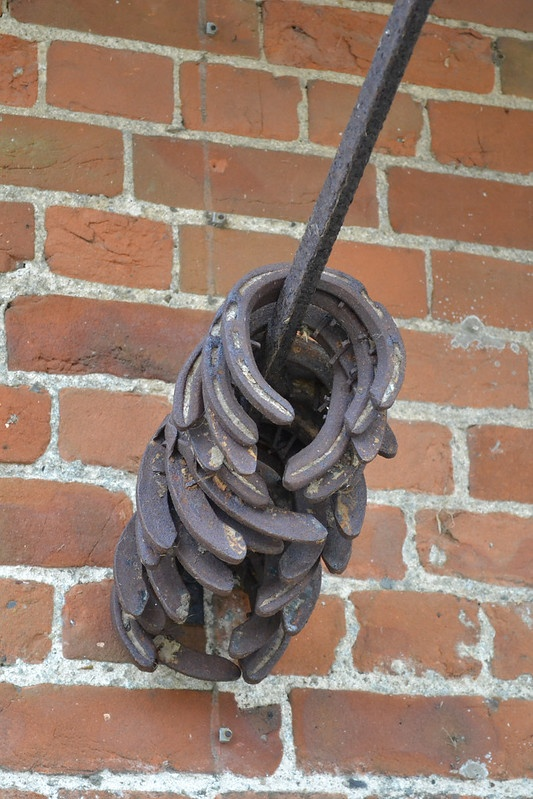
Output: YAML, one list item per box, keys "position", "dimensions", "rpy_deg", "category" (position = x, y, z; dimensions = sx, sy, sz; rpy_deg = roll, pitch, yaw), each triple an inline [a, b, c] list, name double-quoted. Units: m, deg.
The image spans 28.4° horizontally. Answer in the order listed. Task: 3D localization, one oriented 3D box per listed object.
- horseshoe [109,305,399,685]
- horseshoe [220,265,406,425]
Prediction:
- position: [-0.025, 0.073, 0.873]
  dimensions: [0.215, 0.100, 0.339]
  rpy_deg: [4, 93, -39]
  category: "horseshoe"
- position: [0.041, -0.030, 0.789]
  dimensions: [0.135, 0.035, 0.126]
  rpy_deg: [-14, 77, -12]
  category: "horseshoe"
